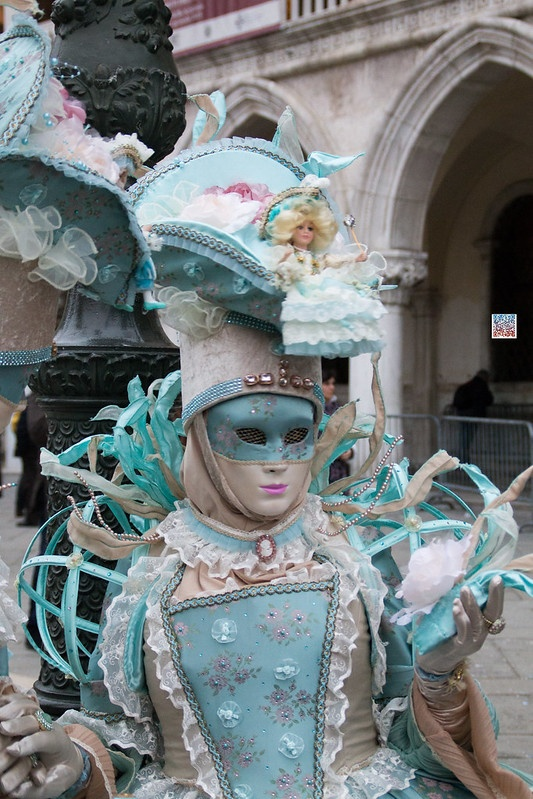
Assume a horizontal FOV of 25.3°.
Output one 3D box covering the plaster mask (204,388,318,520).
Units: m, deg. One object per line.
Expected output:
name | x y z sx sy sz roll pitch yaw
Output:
plaster mask | -0.024 0.105 2.497 0.295 0.282 0.137 1 -13 -27

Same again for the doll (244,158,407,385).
doll | 0.131 -0.291 2.491 0.308 0.299 0.283 8 -4 -19

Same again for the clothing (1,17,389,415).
clothing | -0.262 -0.337 2.495 0.843 0.760 0.690 -4 2 33
